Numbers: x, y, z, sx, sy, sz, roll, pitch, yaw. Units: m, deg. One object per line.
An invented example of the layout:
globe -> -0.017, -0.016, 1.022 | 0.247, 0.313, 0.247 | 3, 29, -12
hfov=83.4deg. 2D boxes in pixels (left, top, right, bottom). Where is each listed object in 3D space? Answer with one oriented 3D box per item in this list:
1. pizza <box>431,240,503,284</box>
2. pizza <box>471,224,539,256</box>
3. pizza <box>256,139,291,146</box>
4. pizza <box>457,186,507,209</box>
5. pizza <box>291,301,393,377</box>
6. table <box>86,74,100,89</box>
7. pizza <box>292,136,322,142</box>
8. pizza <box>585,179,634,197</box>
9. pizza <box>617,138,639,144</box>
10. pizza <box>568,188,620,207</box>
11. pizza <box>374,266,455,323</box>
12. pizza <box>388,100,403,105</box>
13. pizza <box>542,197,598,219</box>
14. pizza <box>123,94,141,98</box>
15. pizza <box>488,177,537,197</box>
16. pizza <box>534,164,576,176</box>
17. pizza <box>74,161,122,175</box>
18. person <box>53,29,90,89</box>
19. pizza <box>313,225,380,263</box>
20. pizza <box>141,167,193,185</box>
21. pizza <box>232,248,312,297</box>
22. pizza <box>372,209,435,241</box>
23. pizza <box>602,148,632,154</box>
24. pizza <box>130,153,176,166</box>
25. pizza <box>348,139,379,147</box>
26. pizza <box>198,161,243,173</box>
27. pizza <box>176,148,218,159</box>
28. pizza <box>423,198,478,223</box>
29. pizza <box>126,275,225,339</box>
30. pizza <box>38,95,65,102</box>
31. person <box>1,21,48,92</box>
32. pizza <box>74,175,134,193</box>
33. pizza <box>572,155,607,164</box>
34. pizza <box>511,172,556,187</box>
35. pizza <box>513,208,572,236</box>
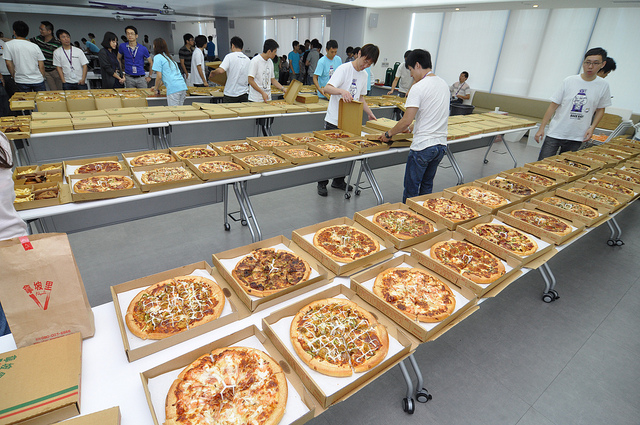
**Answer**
pizza -> 1.084, 0.362, 2.601 | 0.282, 0.064, 0.386 | -19, 31, -26
pizza -> 1.474, 0.215, 2.817 | 0.282, 0.033, 0.285 | 3, 25, 1
pizza -> -0.517, -0.760, 3.931 | 0.319, 0.031, 0.179 | -6, 30, -16
pizza -> 1.535, -0.141, 3.361 | 0.243, 0.039, 0.333 | -15, 29, -27
pizza -> 0.126, 0.733, 2.108 | 0.560, 0.183, 0.412 | -5, 30, -13
table -> -5.914, -3.424, 9.337 | 0.252, 0.377, 0.713 | -15, 33, -28
pizza -> -0.148, -0.850, 4.165 | 0.276, 0.015, 0.214 | -14, 32, -27
pizza -> 3.088, -0.274, 3.810 | 0.257, 0.042, 0.251 | 23, 24, 31
pizza -> 4.694, -1.085, 5.468 | 0.177, 0.045, 0.187 | -8, 27, -23
pizza -> 2.707, -0.158, 3.556 | 0.224, 0.037, 0.343 | -15, 28, -31
pizza -> 0.618, 0.541, 2.351 | 0.325, 0.061, 0.381 | -24, 42, -36
pizza -> 1.415, -2.006, 6.533 | 0.196, 0.050, 0.201 | 14, 25, 40
pizza -> 2.306, -0.046, 3.297 | 0.218, 0.049, 0.381 | -11, 25, -26
pizza -> -3.000, -1.847, 5.709 | 0.182, 0.039, 0.161 | -11, 33, -27
pizza -> 1.902, -0.260, 3.578 | 0.223, 0.039, 0.327 | -19, 31, -37
pizza -> 2.696, -0.480, 4.078 | 0.237, 0.019, 0.231 | -11, 27, -31
pizza -> -1.907, -0.385, 3.092 | 0.259, 0.029, 0.189 | -15, 30, -41
person -> -4.464, -2.710, 6.453 | 0.497, 1.035, 0.537 | 20, 34, 29
pizza -> 0.173, 0.231, 2.609 | 0.300, 0.040, 0.295 | 17, 31, 28
pizza -> -1.320, -0.313, 3.056 | 0.335, 0.057, 0.188 | -10, 32, -24
pizza -> -0.314, 0.385, 2.392 | 0.408, 0.048, 0.421 | 9, 34, -11
pizza -> 0.671, 0.086, 2.893 | 0.408, 0.039, 0.377 | -16, 33, -30
pizza -> 4.067, -0.830, 4.873 | 0.247, 0.033, 0.294 | -7, 30, -17
pizza -> -1.568, -0.495, 3.331 | 0.383, 0.029, 0.253 | -16, 34, -31
pizza -> 0.505, -0.777, 4.054 | 0.351, 0.034, 0.237 | -8, 30, -19
pizza -> -0.910, -0.410, 3.259 | 0.384, 0.038, 0.310 | -6, 30, -16
pizza -> -1.185, -0.559, 3.471 | 0.368, 0.044, 0.337 | -9, 31, -20
pizza -> 1.122, -0.070, 3.086 | 0.252, 0.043, 0.318 | -19, 30, -38
pizza -> -0.855, 0.528, 2.100 | 0.410, 0.057, 0.315 | -4, 37, -17
pizza -> -3.947, -1.656, 5.239 | 0.198, 0.046, 0.176 | -14, 41, -29
person -> -4.995, -2.590, 6.014 | 0.540, 1.088, 0.584 | -15, 34, -27
pizza -> -1.712, -0.224, 2.848 | 0.316, 0.036, 0.206 | -7, 30, -29
pizza -> 3.391, -0.652, 4.440 | 0.172, 0.038, 0.153 | -6, 19, -1
pizza -> 2.295, -0.353, 3.810 | 0.242, 0.031, 0.296 | -4, 20, -10
pizza -> 1.896, 0.079, 3.052 | 0.235, 0.048, 0.360 | -14, 29, -28
